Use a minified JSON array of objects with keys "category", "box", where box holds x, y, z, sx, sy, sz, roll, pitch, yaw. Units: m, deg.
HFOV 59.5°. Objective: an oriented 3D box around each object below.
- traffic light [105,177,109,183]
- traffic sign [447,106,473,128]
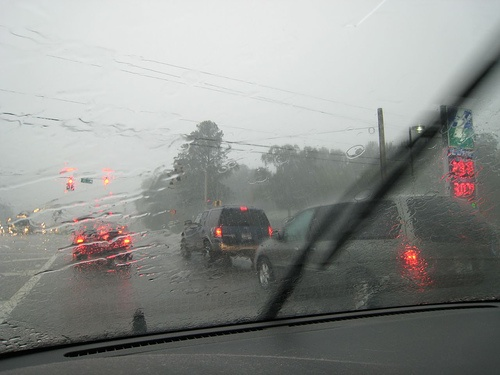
[{"category":"traffic light","box":[-3.610,-0.179,11.041,0.120,0.163,0.223,-3,6,-19]},{"category":"traffic sign","box":[6.002,-2.017,12.467,0.586,0.621,0.063,-7,-12,37]}]
